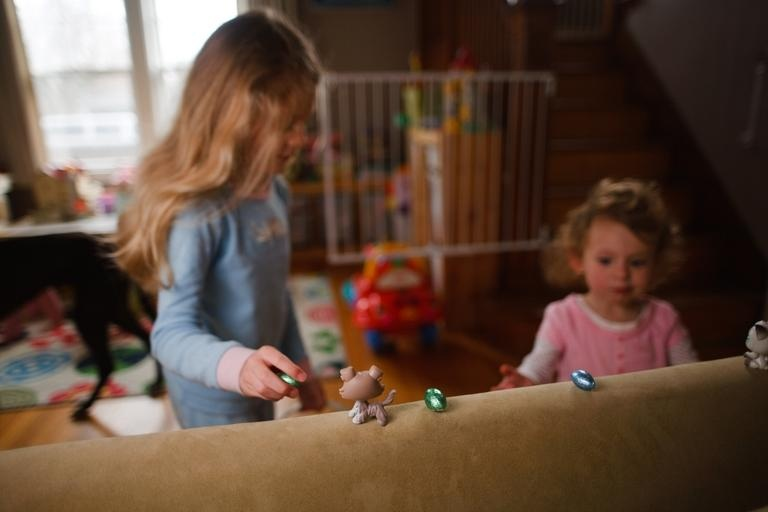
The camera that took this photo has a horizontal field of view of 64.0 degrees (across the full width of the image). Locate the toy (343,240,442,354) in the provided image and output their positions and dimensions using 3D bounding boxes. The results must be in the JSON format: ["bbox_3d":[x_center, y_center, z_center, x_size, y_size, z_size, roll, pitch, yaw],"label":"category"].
[{"bbox_3d":[0.015,0.109,1.936,0.235,0.226,0.369,-11,17,-3],"label":"toy"}]

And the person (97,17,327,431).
[{"bbox_3d":[-0.387,-0.062,1.453,0.449,0.971,0.321,2,18,14],"label":"person"}]

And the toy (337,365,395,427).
[{"bbox_3d":[-0.038,0.277,1.231,0.132,0.122,0.106,4,-8,-29],"label":"toy"}]

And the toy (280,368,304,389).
[{"bbox_3d":[-0.207,0.281,1.389,0.039,0.016,0.039,36,-13,-35],"label":"toy"}]

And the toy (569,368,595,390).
[{"bbox_3d":[0.447,0.275,1.367,0.036,0.028,0.046,-1,9,3],"label":"toy"}]
